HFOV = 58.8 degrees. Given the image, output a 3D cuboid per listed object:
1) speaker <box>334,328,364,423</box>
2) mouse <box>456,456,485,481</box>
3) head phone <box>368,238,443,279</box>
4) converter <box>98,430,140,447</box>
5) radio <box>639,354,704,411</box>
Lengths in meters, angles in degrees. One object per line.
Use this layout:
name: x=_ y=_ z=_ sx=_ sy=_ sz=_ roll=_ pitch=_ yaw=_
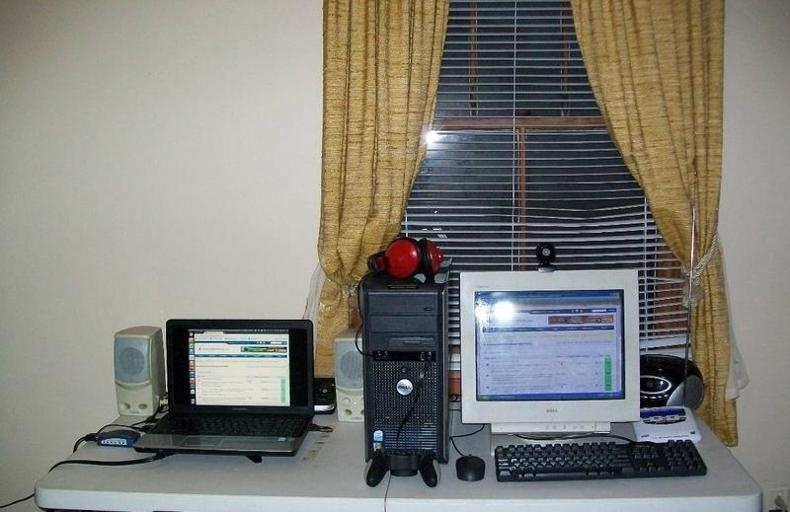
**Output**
speaker: x=-0.185 y=0.552 z=3.115 sx=0.140 sy=0.354 sz=0.150 roll=0 pitch=11 yaw=-1
mouse: x=0.299 y=0.838 z=2.764 sx=0.093 sy=0.057 sz=0.087 roll=0 pitch=-6 yaw=-5
head phone: x=0.049 y=0.002 z=3.061 sx=0.289 sy=0.166 sz=0.293 roll=4 pitch=6 yaw=0
converter: x=-1.172 y=0.772 z=2.977 sx=0.157 sy=0.042 sz=0.082 roll=2 pitch=0 yaw=-1
radio: x=1.254 y=0.560 z=3.226 sx=0.299 sy=0.256 sz=0.278 roll=6 pitch=10 yaw=8
